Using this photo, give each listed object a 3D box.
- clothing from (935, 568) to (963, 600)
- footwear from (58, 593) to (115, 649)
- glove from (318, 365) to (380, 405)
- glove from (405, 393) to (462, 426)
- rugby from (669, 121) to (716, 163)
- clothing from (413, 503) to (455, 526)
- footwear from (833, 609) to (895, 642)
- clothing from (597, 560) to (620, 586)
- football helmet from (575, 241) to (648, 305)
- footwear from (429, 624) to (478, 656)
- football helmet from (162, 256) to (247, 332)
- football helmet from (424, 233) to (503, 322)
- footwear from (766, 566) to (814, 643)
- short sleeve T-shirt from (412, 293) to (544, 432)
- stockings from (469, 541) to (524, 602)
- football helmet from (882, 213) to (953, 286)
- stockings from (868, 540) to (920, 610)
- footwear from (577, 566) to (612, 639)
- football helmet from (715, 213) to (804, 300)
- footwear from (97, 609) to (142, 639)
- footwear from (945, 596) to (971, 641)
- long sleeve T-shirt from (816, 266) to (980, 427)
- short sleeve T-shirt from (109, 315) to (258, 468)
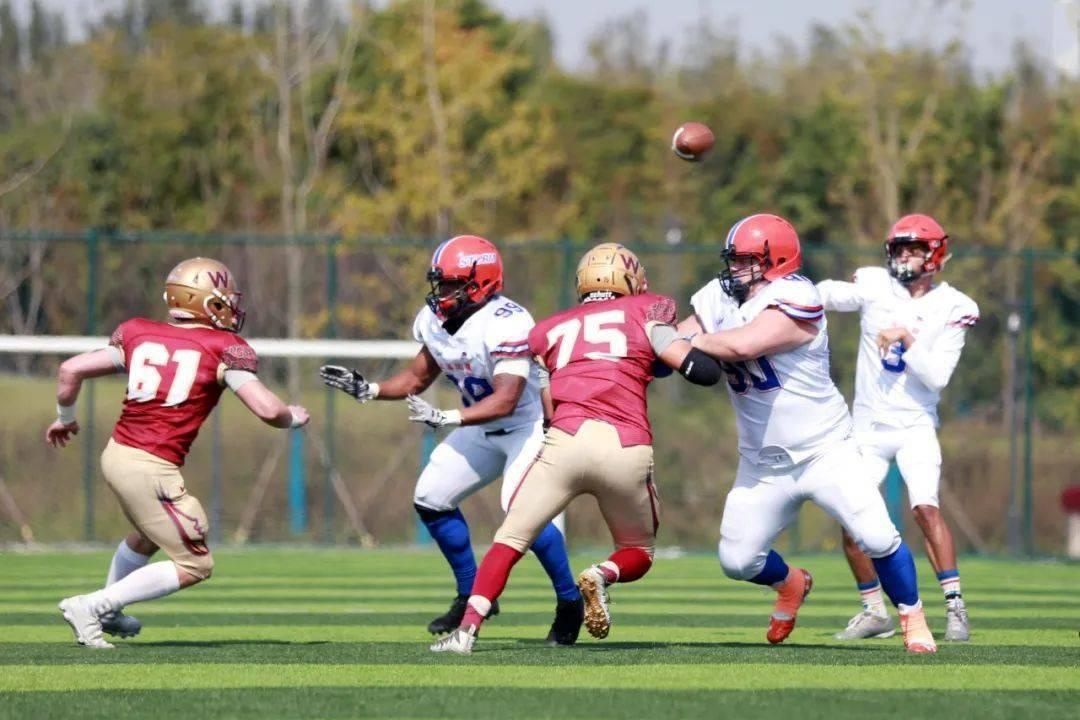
[{"bbox_3d":[3.090,1.715,14.000,0.164,0.266,0.383,0,0,11],"label":"clothing"},{"bbox_3d":[-3.258,1.923,13.389,0.323,0.299,0.190,-19,13,30],"label":"footwear"},{"bbox_3d":[-1.421,0.167,13.746,0.377,0.165,0.296,29,-4,-17],"label":"glove"},{"bbox_3d":[-0.760,0.421,13.454,0.326,0.245,0.118,-1,-22,-2],"label":"glove"},{"bbox_3d":[1.185,-1.709,14.437,0.301,0.298,0.247,0,1,-20],"label":"rugby"},{"bbox_3d":[-0.778,1.189,13.934,0.238,0.112,0.181,11,-10,-6],"label":"clothing"},{"bbox_3d":[2.475,2.027,13.940,0.566,0.254,0.183,-2,-1,-9],"label":"footwear"},{"bbox_3d":[0.476,1.502,13.096,0.131,0.116,0.188,-29,39,-5],"label":"clothing"},{"bbox_3d":[0.524,-0.572,13.780,0.502,0.545,0.677,-9,-5,17],"label":"football helmet"},{"bbox_3d":[-0.613,2.016,13.138,0.334,0.217,0.258,0,0,2],"label":"footwear"},{"bbox_3d":[-2.492,-0.462,13.747,0.547,0.547,0.655,7,3,26],"label":"football helmet"},{"bbox_3d":[-0.561,-0.639,13.949,0.654,0.579,0.458,-12,12,-34],"label":"football helmet"},{"bbox_3d":[1.810,1.814,13.824,0.236,0.661,0.311,13,-5,36],"label":"footwear"},{"bbox_3d":[-0.432,-0.030,13.695,0.780,1.125,0.460,23,41,35],"label":"short sleeve T-shirt"},{"bbox_3d":[-0.271,1.508,13.162,0.349,0.432,0.322,20,14,-4],"label":"stockings"},{"bbox_3d":[2.959,-0.860,14.483,0.448,0.488,0.531,-1,-9,41],"label":"football helmet"},{"bbox_3d":[2.562,1.565,13.354,0.324,0.464,0.213,0,1,9],"label":"stockings"},{"bbox_3d":[0.403,1.742,12.979,0.183,0.533,0.303,-13,-7,20],"label":"footwear"},{"bbox_3d":[1.654,-0.769,13.575,0.631,0.576,0.467,-2,1,-17],"label":"football helmet"},{"bbox_3d":[-3.061,1.949,13.472,0.209,0.122,0.279,14,0,42],"label":"footwear"},{"bbox_3d":[3.134,1.959,13.877,0.219,0.331,0.191,0,1,-9],"label":"footwear"},{"bbox_3d":[2.942,-0.053,15.114,1.503,1.433,0.882,4,-8,26],"label":"long sleeve T-shirt"},{"bbox_3d":[-2.750,0.274,14.272,1.291,1.139,0.745,14,4,-3],"label":"short sleeve T-shirt"}]
